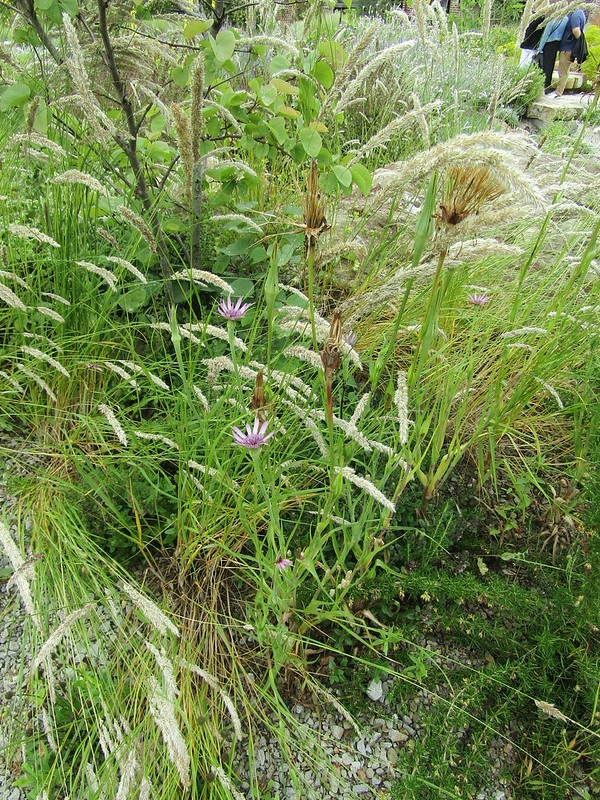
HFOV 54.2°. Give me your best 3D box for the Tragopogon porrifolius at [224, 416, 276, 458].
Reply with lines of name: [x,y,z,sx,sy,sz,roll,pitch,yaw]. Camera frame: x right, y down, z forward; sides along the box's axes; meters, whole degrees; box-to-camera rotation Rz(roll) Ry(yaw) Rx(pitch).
Tragopogon porrifolius: [-0.113,0.098,1.316,0.102,0.052,0.103,11,34,7]

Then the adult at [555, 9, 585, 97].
adult: [3.260,-4.158,7.031,0.309,0.897,1.157,15,35,15]

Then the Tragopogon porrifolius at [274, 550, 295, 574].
Tragopogon porrifolius: [-0.033,0.405,1.490,0.064,0.064,0.026,43,74,0]
